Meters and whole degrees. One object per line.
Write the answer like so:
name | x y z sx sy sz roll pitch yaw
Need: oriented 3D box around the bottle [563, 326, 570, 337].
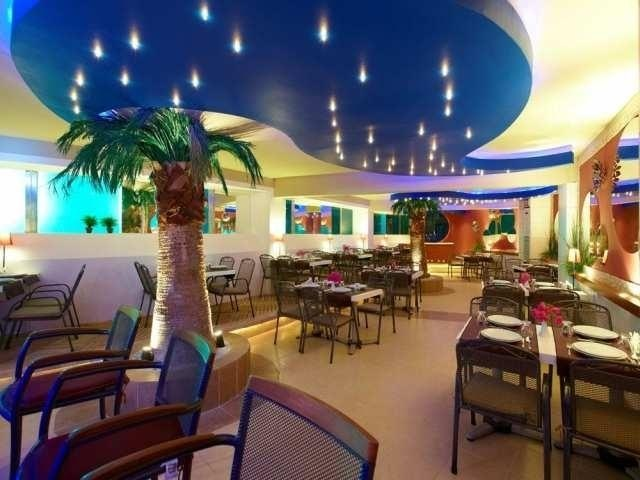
bottle | 2.258 0.837 4.034 0.054 0.099 0.031 -1 1 20
